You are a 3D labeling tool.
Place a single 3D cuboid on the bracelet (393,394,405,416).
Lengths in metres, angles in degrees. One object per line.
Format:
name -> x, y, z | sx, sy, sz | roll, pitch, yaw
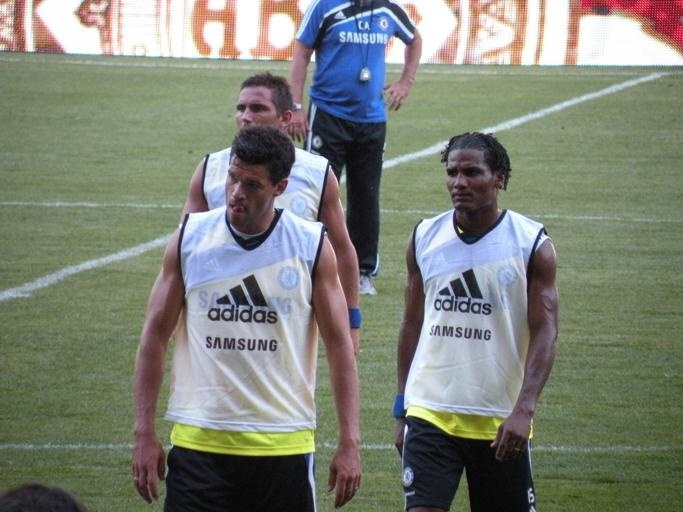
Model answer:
bracelet -> 0.410, 1.050, 8.224 | 0.119, 0.128, 0.126 | -1, -1, 11
